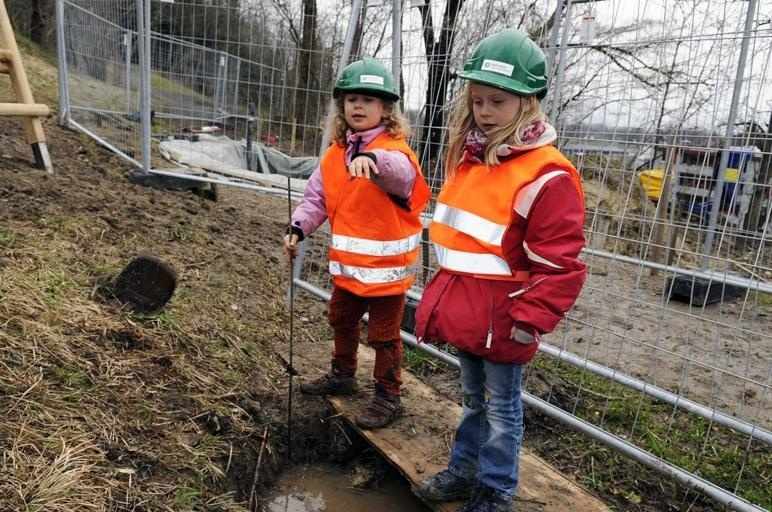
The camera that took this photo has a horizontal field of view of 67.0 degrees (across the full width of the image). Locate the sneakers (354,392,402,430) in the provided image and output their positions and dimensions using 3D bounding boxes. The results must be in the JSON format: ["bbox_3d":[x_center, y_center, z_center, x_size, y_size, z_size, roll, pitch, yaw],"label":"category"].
[{"bbox_3d":[-0.063,1.229,4.671,0.224,0.202,0.371,0,0,39],"label":"sneakers"}]

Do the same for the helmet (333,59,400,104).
[{"bbox_3d":[-0.144,-1.396,4.512,0.460,0.339,0.648,2,4,-2],"label":"helmet"}]

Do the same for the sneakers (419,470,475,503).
[{"bbox_3d":[0.424,1.618,4.179,0.418,0.221,0.184,1,7,-8],"label":"sneakers"}]
